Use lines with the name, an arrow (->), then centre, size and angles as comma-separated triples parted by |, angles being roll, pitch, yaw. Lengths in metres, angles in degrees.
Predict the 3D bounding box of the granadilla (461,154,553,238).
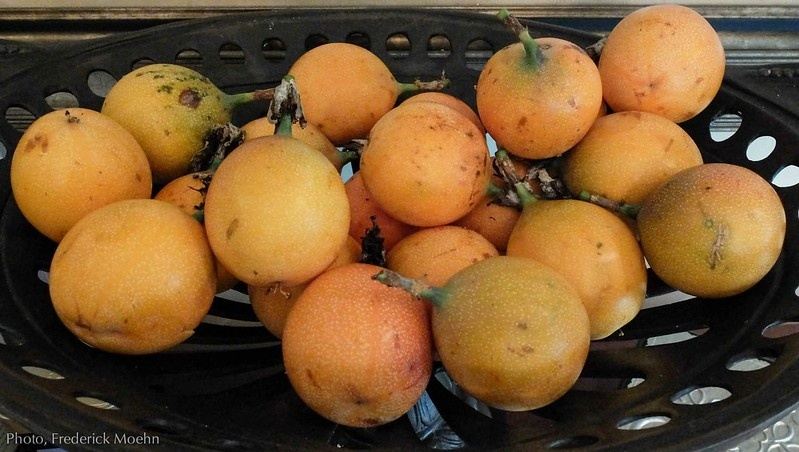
granadilla -> 0.227, -0.057, 1.763 | 0.119, 0.139, 0.122 | 10, 48, 33

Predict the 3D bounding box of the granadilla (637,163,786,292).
granadilla -> 0.632, 0.005, 1.731 | 0.309, 0.219, 0.240 | -25, 36, -16

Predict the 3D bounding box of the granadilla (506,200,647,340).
granadilla -> 0.391, 0.047, 1.783 | 0.249, 0.313, 0.242 | -34, 4, 10

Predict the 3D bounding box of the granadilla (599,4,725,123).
granadilla -> 0.612, -0.366, 1.939 | 0.324, 0.253, 0.274 | 20, 18, 32
